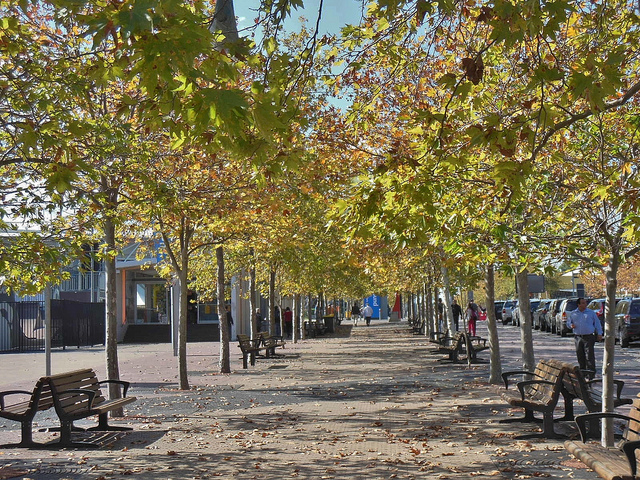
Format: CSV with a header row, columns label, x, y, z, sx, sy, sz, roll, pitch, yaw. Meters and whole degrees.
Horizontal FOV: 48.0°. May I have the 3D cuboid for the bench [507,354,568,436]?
label,x,y,z,sx,sy,sz,roll,pitch,yaw
bench,3.630,2.675,12.379,0.823,1.140,2.245,-2,-6,9

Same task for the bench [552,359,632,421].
label,x,y,z,sx,sy,sz,roll,pitch,yaw
bench,4.613,2.576,12.270,0.604,0.749,1.563,-5,-8,6

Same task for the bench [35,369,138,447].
label,x,y,z,sx,sy,sz,roll,pitch,yaw
bench,-4.047,2.914,12.686,0.982,1.161,2.292,0,-6,0

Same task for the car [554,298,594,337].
label,x,y,z,sx,sy,sz,roll,pitch,yaw
car,14.123,4.175,39.970,1.961,1.993,4.612,-3,-2,9
